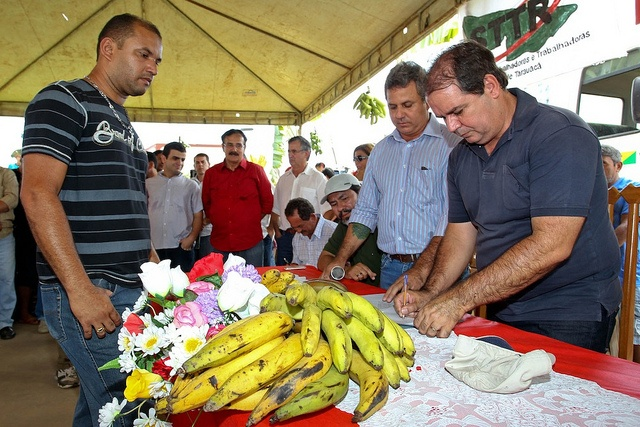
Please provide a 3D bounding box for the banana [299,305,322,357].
[{"bbox_3d":[-0.031,0.424,1.533,0.057,0.061,0.185,22,30,-9],"label":"banana"}]

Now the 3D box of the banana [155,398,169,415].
[{"bbox_3d":[-0.575,0.696,1.520,0.053,0.023,0.072,0,-4,-1],"label":"banana"}]

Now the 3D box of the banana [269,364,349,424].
[{"bbox_3d":[-0.030,0.652,1.500,0.272,0.067,0.147,-14,28,-32],"label":"banana"}]

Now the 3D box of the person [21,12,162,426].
[{"bbox_3d":[-1.169,-0.002,2.247,0.489,2.221,0.673,1,5,26],"label":"person"}]

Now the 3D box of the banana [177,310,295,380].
[{"bbox_3d":[-0.292,0.482,1.567,0.478,0.123,0.121,-24,40,-27],"label":"banana"}]

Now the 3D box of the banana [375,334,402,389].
[{"bbox_3d":[0.263,0.578,1.622,0.060,0.222,0.075,-23,4,7],"label":"banana"}]

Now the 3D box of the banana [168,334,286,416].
[{"bbox_3d":[-0.418,0.578,1.592,0.543,0.143,0.184,-25,-22,-2],"label":"banana"}]

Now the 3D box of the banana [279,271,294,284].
[{"bbox_3d":[-0.167,0.319,2.080,0.046,0.021,0.059,18,11,2],"label":"banana"}]

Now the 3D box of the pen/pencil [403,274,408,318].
[{"bbox_3d":[0.452,0.448,2.243,0.024,0.219,0.024,4,-5,16],"label":"pen/pencil"}]

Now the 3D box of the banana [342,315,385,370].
[{"bbox_3d":[0.168,0.482,1.623,0.084,0.072,0.247,-4,29,-37],"label":"banana"}]

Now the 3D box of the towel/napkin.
[{"bbox_3d":[0.704,0.610,1.658,0.282,0.101,0.216,-1,24,37],"label":"towel/napkin"}]

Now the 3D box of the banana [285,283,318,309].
[{"bbox_3d":[-0.073,0.311,1.597,0.051,0.071,0.123,-14,-4,14],"label":"banana"}]

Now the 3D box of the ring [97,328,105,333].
[{"bbox_3d":[-1.064,0.565,2.026,0.023,0.023,0.008,-26,-21,-33],"label":"ring"}]

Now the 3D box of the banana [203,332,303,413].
[{"bbox_3d":[-0.198,0.560,1.530,0.145,0.114,0.453,18,-52,-45],"label":"banana"}]

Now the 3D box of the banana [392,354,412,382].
[{"bbox_3d":[0.307,0.601,1.677,0.040,0.130,0.045,-24,-20,-27],"label":"banana"}]

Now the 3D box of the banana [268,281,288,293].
[{"bbox_3d":[-0.206,0.357,2.010,0.041,0.032,0.091,-23,-11,33],"label":"banana"}]

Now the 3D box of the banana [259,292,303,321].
[{"bbox_3d":[-0.150,0.376,1.727,0.064,0.087,0.245,28,24,36],"label":"banana"}]

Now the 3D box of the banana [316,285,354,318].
[{"bbox_3d":[0.050,0.327,1.610,0.068,0.074,0.146,-42,25,-12],"label":"banana"}]

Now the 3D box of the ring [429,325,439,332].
[{"bbox_3d":[0.549,0.560,2.028,0.038,0.024,0.035,12,-23,5],"label":"ring"}]

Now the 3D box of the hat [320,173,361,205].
[{"bbox_3d":[0.193,-0.235,3.973,0.226,0.151,0.314,-27,-7,42],"label":"hat"}]
